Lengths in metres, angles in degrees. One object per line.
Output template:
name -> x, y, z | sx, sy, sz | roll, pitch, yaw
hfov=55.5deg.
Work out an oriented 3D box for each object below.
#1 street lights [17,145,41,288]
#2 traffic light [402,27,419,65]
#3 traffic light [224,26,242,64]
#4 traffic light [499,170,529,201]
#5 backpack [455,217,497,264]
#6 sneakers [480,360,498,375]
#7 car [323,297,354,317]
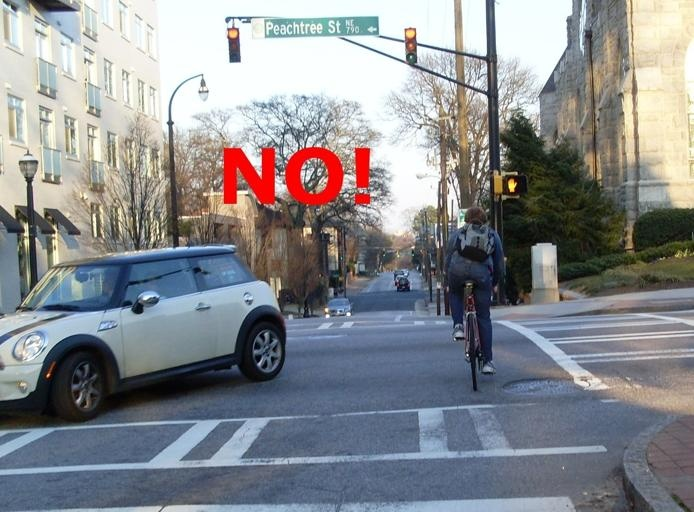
street lights -> -9.307, -1.094, 19.531 | 0.623, 3.990, 0.574 | -2, -4, -44
traffic light -> 1.681, -5.557, 17.353 | 0.312, 0.870, 0.750 | -1, 2, 9
traffic light -> -3.060, -5.882, 18.041 | 0.555, 0.687, 1.056 | -3, -39, -9
traffic light -> 4.526, -1.925, 17.900 | 0.648, 0.686, 0.365 | -1, 3, 15
backpack -> 1.655, -0.147, 8.385 | 0.433, 0.611, 0.280 | 5, -17, 11
sneakers -> 1.814, 1.451, 8.488 | 0.162, 0.218, 0.313 | -1, 2, 15
car -> -0.482, 3.575, 46.355 | 1.056, 1.113, 2.118 | -2, -8, 6
